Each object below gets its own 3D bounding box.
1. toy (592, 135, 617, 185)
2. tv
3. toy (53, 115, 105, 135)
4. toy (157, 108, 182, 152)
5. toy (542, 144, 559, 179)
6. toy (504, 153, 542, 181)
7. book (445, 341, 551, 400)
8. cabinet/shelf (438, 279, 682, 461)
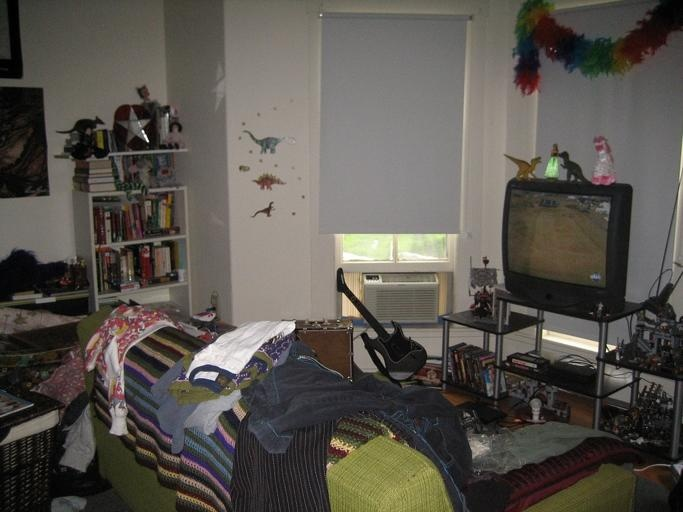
[{"bbox_3d":[1.732,-0.629,3.643,0.128,0.324,0.174,0,8,25],"label":"toy"},{"bbox_3d":[1.671,-0.095,3.984,0.522,0.943,0.929,-10,13,-38],"label":"tv"},{"bbox_3d":[-2.191,-1.086,4.577,0.395,0.182,0.117,-8,25,-12],"label":"toy"},{"bbox_3d":[-1.485,-1.132,4.877,0.129,0.363,0.235,3,9,39],"label":"toy"},{"bbox_3d":[1.516,-0.676,3.952,0.085,0.252,0.340,-1,7,20],"label":"toy"},{"bbox_3d":[1.392,-0.654,4.129,0.170,0.160,0.397,-1,7,19],"label":"toy"},{"bbox_3d":[1.080,0.885,4.245,0.464,0.115,0.429,-3,10,-34],"label":"book"},{"bbox_3d":[1.529,0.774,3.728,0.367,0.555,1.097,-5,8,-36],"label":"cabinet/shelf"}]
